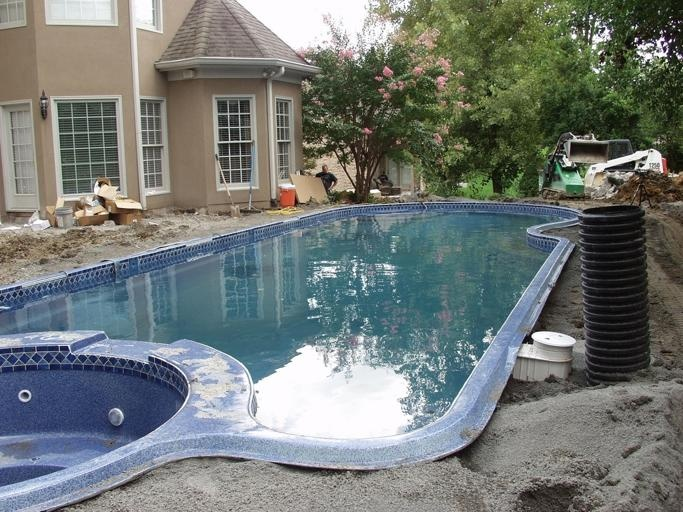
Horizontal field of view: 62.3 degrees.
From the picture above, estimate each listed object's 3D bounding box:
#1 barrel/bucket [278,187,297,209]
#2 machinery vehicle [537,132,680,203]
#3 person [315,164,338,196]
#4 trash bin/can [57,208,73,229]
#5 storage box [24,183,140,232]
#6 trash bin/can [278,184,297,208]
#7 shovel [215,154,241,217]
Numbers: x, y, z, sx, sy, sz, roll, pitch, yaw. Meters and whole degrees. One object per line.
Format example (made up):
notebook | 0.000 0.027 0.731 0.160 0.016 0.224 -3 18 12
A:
barrel/bucket | -1.689 -1.785 17.122 0.478 0.601 0.474 -3 10 0
machinery vehicle | 10.405 -3.269 20.589 6.288 2.765 1.941 -3 11 -13
person | -0.541 -2.661 19.465 0.803 0.925 0.526 -7 11 -25
trash bin/can | -6.182 -0.855 12.616 0.479 0.529 0.426 -1 4 -21
storage box | -5.927 -1.295 13.350 2.330 1.058 1.985 -4 10 -10
trash bin/can | -1.626 -1.852 17.277 0.661 0.618 0.669 0 1 11
shovel | -3.257 -2.054 16.060 0.517 1.738 1.394 -5 10 -12
